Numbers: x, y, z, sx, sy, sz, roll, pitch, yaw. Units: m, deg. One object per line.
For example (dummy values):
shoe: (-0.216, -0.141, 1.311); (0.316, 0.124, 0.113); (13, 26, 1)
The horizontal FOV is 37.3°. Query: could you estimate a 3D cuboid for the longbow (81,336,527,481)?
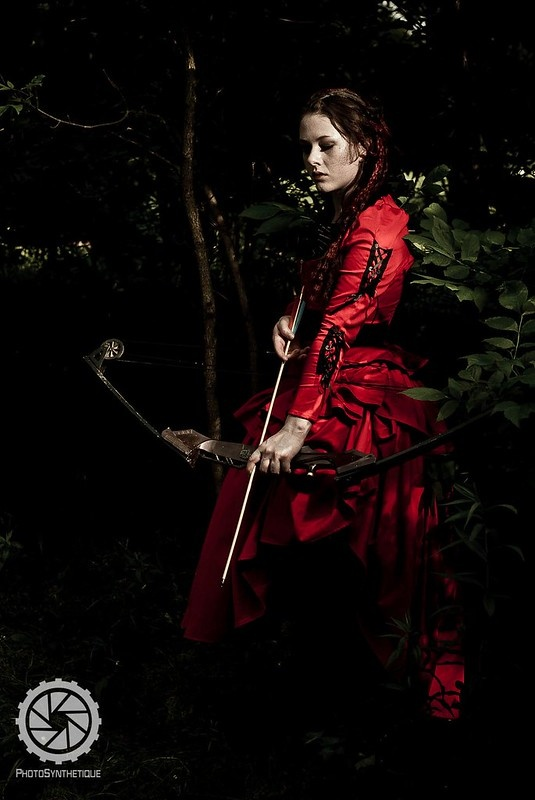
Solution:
longbow: (0.009, 0.060, 1.493); (0.741, 0.206, 0.044); (8, 28, 5)
